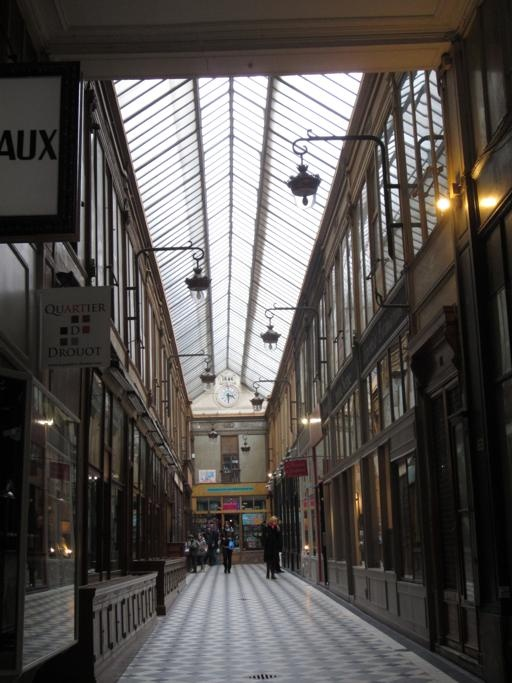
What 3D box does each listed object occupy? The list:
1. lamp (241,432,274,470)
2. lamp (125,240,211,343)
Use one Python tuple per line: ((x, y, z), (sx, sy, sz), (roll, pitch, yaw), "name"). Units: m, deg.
((0.111, 6.718, 36.983), (1.722, 3.310, 1.721), (0, -36, 0), "lamp")
((-1.599, -0.917, 11.007), (1.555, 0.599, 2.385), (-8, -38, -18), "lamp")
